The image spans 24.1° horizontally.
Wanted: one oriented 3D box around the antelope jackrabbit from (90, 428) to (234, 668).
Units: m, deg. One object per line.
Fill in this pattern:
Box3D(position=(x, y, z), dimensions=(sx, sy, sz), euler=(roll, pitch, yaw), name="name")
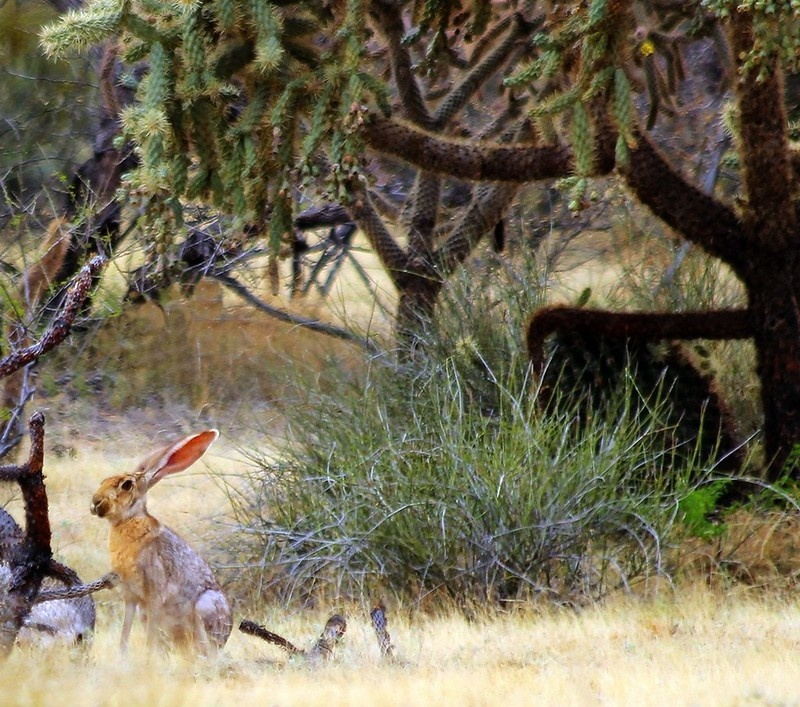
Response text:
Box3D(position=(-1.066, 0.893, 8.392), dimensions=(0.587, 0.850, 0.630), euler=(-3, 20, -9), name="antelope jackrabbit")
